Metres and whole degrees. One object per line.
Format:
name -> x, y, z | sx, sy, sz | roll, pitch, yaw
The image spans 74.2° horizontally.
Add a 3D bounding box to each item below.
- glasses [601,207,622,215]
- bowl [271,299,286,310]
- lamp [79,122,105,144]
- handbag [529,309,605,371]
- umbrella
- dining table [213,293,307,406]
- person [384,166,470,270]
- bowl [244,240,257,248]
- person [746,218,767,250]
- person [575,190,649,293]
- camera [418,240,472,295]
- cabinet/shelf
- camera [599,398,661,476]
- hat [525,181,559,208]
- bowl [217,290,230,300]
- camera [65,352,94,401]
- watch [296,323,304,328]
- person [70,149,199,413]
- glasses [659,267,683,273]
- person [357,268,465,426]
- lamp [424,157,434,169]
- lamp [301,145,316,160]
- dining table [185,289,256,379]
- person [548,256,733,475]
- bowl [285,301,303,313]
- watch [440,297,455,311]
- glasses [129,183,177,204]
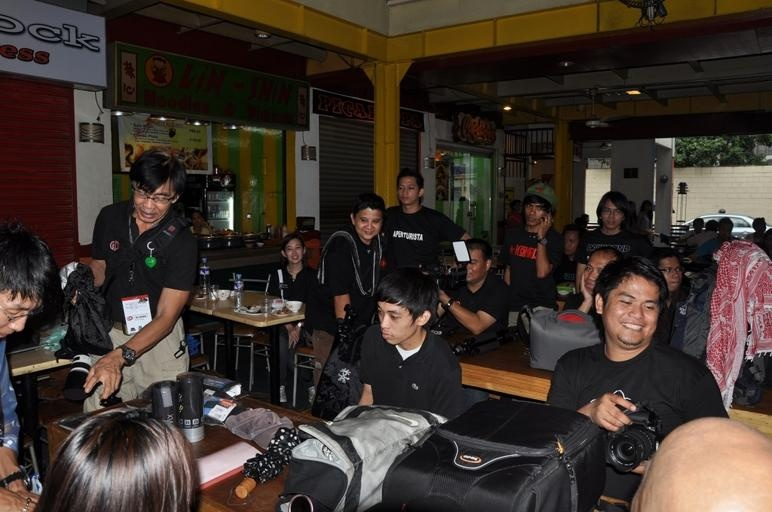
glasses -> 2.231, -0.444, 5.035 | 0.151, 0.076, 0.061 | 1, 7, 25
bowl -> -1.104, 0.493, 5.232 | 0.107, 0.078, 0.099 | 2, -3, 0
lamp -> -3.693, -1.545, 6.373 | 0.143, 0.251, 0.275 | 9, 9, 37
handbag -> 1.274, 0.597, 3.578 | 0.553, 0.444, 0.289 | 5, 19, 13
umbrella -> -0.518, 0.915, 2.322 | 0.136, 0.120, 0.374 | 17, 24, 21
dining table -> -1.253, 0.929, 5.207 | 1.009, 0.745, 0.516 | 13, 20, 41
person -> 0.243, -0.264, 5.063 | 1.246, 1.192, 0.352 | 3, 10, 34
bowl -> -2.125, -0.189, 8.000 | 0.118, 0.079, 0.106 | 1, -2, -34
person -> 7.252, -0.488, 9.948 | 0.203, 0.466, 1.944 | 3, 7, 35
person -> 2.327, 0.066, 5.172 | 0.796, 1.384, 0.446 | 0, 3, 27
camera -> 0.490, 0.071, 4.215 | 0.381, 0.376, 0.279 | -3, 1, 37
cabinet/shelf -> -2.238, 0.092, 7.815 | 0.660, 0.749, 1.224 | 2, 4, 36
camera -> 1.059, 0.767, 2.217 | 0.257, 0.226, 0.260 | -3, -2, -14
hat -> 1.588, -0.631, 5.082 | 0.219, 0.142, 0.298 | 9, -19, 47
bowl -> -1.826, 0.443, 5.744 | 0.100, 0.077, 0.113 | 0, -5, 7
camera -> -1.800, 0.673, 2.995 | 0.117, 0.118, 0.348 | -17, 23, -14
watch -> -0.947, 0.765, 5.611 | 0.111, 0.025, 0.103 | 1, 5, 3
person -> -1.557, 0.174, 3.108 | 0.713, 1.587, 0.694 | 3, 8, 34
glasses -> 2.200, 0.109, 3.956 | 0.092, 0.027, 0.093 | -3, 6, -28
person -> 0.147, 0.529, 2.989 | 0.732, 1.047, 0.400 | 12, 16, 38
lamp -> 0.989, -2.051, 11.459 | 0.232, 0.301, 0.310 | -1, 4, 14
lamp -> -1.321, -1.782, 8.846 | 0.091, 0.257, 0.351 | 3, 8, 35
dining table -> -1.878, 0.931, 5.468 | 0.658, 0.569, 1.204 | 9, -16, -24
person -> 1.279, 0.530, 2.538 | 1.048, 1.054, 0.694 | 3, 6, 44
bowl -> -0.937, 0.519, 5.181 | 0.113, 0.069, 0.112 | 0, -6, 0
watch -> 0.497, 0.380, 4.119 | 0.087, 0.042, 0.112 | 29, -36, -10
glasses -> -1.392, -0.371, 3.081 | 0.242, 0.110, 0.221 | -5, 7, -26
